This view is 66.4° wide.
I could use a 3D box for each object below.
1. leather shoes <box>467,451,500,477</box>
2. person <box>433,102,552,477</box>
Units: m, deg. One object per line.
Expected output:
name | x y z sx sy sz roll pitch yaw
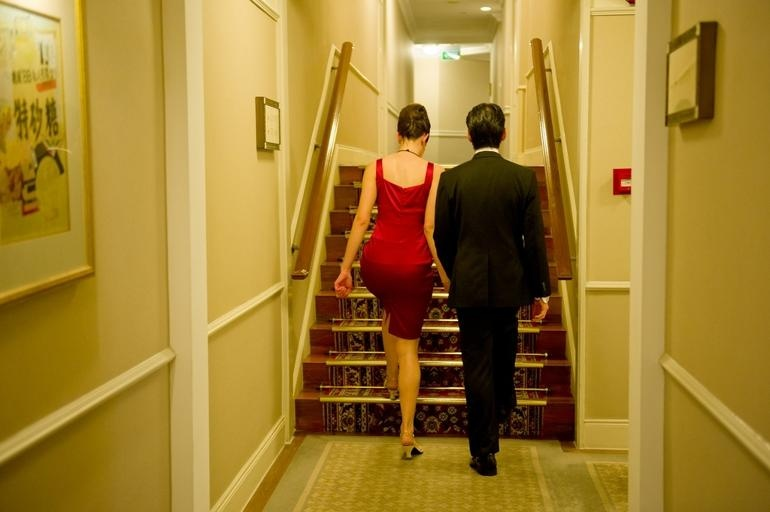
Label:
leather shoes | 0.597 1.257 3.626 0.085 0.139 0.215 -2 6 -24
person | 0.637 0.220 3.539 0.676 2.235 0.337 0 8 5
